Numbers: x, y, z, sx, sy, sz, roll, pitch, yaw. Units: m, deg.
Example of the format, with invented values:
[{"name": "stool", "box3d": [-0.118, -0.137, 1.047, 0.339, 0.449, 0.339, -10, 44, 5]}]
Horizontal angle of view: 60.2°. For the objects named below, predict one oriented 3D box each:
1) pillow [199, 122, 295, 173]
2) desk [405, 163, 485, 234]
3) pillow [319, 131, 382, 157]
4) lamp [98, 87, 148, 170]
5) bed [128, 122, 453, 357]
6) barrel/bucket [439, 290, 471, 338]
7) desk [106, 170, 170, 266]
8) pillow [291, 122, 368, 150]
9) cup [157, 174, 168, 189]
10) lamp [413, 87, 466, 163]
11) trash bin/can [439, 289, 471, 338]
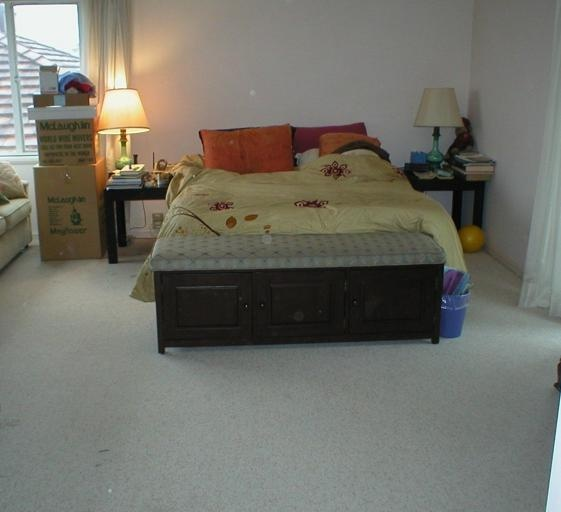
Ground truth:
[{"name": "pillow", "box3d": [-0.285, -0.890, 3.961, 0.719, 0.451, 0.232, -1, 45, 1]}, {"name": "desk", "box3d": [1.409, -0.530, 4.431, 0.566, 0.721, 0.753, -4, 17, -6]}, {"name": "pillow", "box3d": [0.519, -0.937, 3.914, 0.350, 0.105, 0.362, -4, 28, 6]}, {"name": "lamp", "box3d": [-1.365, -1.062, 4.154, 0.435, 0.675, 0.428, -6, 17, -25]}, {"name": "bed", "box3d": [0.061, -0.133, 2.986, 1.810, 0.994, 1.374, -1, 12, -4]}, {"name": "barrel/bucket", "box3d": [0.899, 0.319, 2.621, 0.215, 0.217, 0.205, 2, -2, 0]}, {"name": "desk", "box3d": [-1.257, -0.383, 4.147, 0.717, 0.673, 0.675, -2, 10, -12]}, {"name": "pillow", "box3d": [0.403, -1.007, 4.085, 0.425, 0.242, 0.105, -4, -16, 0]}, {"name": "cup", "box3d": [-0.962, -0.611, 3.968, 0.108, 0.103, 0.107, 0, 12, 0]}, {"name": "lamp", "box3d": [1.355, -1.085, 4.218, 0.424, 0.695, 0.407, 0, 11, -6]}, {"name": "trash bin/can", "box3d": [0.890, 0.309, 2.617, 0.213, 0.226, 0.222, 0, 8, 3]}]
